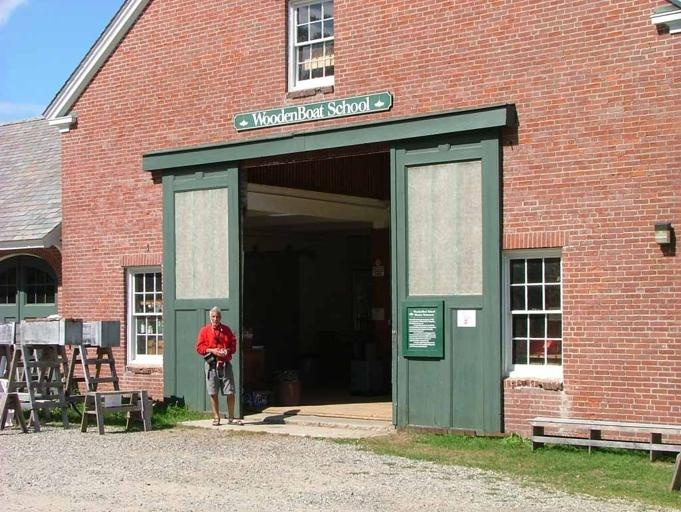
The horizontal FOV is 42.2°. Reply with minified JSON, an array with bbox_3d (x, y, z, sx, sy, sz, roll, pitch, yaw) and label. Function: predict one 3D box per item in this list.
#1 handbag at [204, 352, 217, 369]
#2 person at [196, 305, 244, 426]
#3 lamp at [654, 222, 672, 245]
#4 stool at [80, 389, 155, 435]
[{"bbox_3d":[-2.297,1.842,15.515,0.225,0.232,0.154,-2,-2,44],"label":"handbag"},{"bbox_3d":[-2.154,1.933,15.647,0.753,2.049,0.446,0,-1,-10],"label":"person"},{"bbox_3d":[4.723,-0.317,12.976,0.284,0.374,0.276,-3,-16,29],"label":"lamp"},{"bbox_3d":[-3.856,2.685,15.258,1.041,0.689,0.783,3,-7,-41],"label":"stool"}]
